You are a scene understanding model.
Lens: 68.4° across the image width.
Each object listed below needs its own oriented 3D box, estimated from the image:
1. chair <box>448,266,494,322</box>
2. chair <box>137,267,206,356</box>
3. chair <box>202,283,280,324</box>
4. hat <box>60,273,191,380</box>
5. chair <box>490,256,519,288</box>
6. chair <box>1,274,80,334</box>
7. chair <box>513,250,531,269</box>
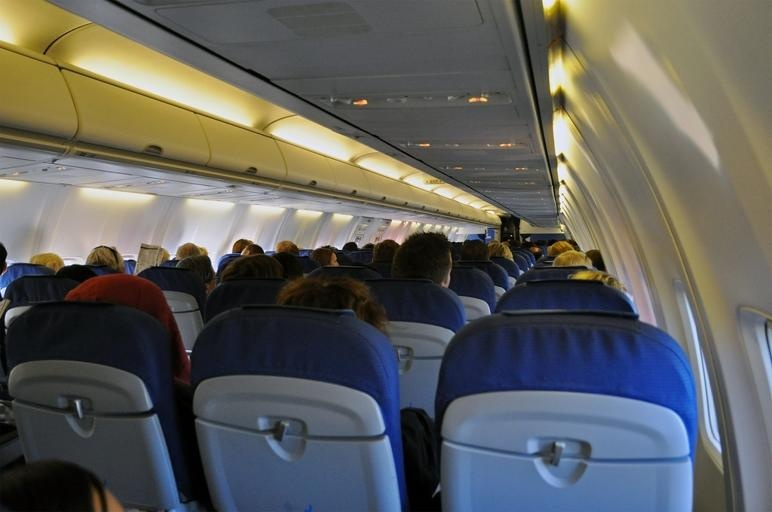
[{"bbox_3d":[0.770,0.327,4.997,0.419,0.563,0.516,3,2,16],"label":"chair"},{"bbox_3d":[-2.138,0.510,5.596,0.677,0.846,0.845,1,3,-15],"label":"chair"},{"bbox_3d":[-1.083,0.296,4.264,0.453,0.394,0.400,0,1,1],"label":"chair"},{"bbox_3d":[-1.509,0.405,3.233,0.689,0.650,0.356,-8,-8,-5],"label":"hat"},{"bbox_3d":[1.471,0.212,7.354,0.382,0.467,0.460,2,-4,14],"label":"chair"},{"bbox_3d":[-2.418,0.335,3.952,0.481,0.421,0.234,-5,17,-9],"label":"chair"},{"bbox_3d":[2.333,0.084,9.681,0.229,0.305,0.298,7,30,18],"label":"chair"}]
